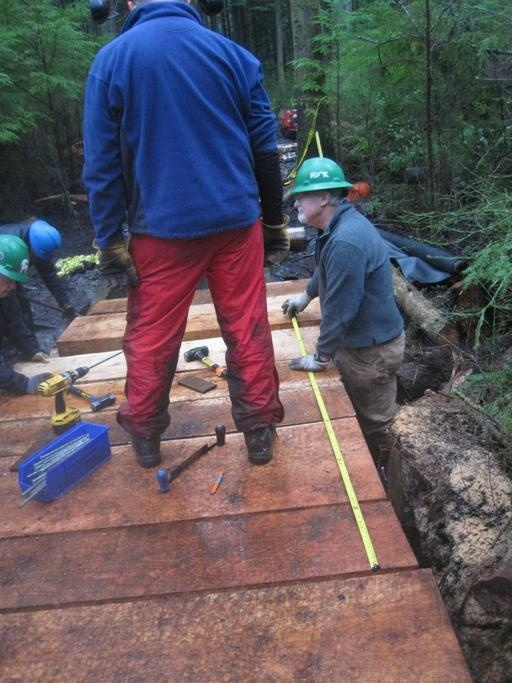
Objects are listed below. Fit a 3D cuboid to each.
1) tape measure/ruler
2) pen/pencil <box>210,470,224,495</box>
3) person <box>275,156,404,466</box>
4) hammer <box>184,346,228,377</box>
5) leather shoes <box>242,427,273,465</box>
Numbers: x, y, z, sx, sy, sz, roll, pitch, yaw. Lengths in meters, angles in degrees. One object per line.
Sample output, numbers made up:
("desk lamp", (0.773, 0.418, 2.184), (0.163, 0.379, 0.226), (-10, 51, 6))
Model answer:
("tape measure/ruler", (0.358, 0.424, 2.862), (0.080, 0.105, 1.576), (-10, 35, -6))
("pen/pencil", (-0.170, 0.624, 2.561), (0.027, 0.017, 0.111), (6, 22, 13))
("person", (0.591, -0.138, 3.694), (1.119, 1.835, 0.893), (-1, 9, -4))
("hammer", (-0.295, 0.134, 3.567), (0.158, 0.060, 0.361), (-8, 23, -30))
("leather shoes", (0.018, 0.477, 2.609), (0.085, 0.089, 0.240), (-8, 6, 5))
